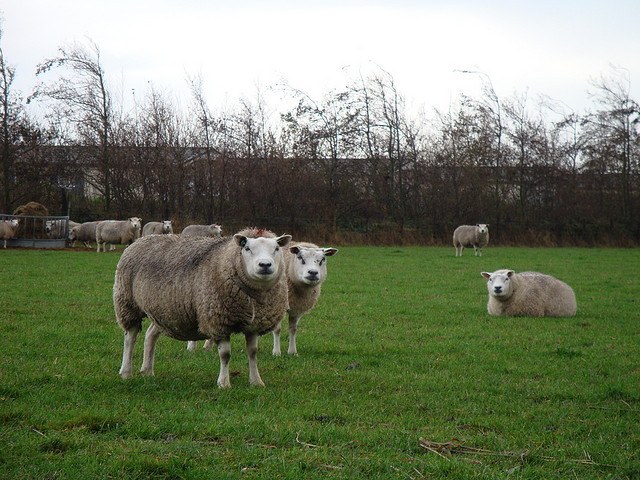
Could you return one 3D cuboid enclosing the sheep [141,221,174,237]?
[{"bbox_3d":[-7.500,-0.515,37.145,1.791,0.996,0.610,-8,-8,44],"label":"sheep"}]

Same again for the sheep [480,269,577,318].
[{"bbox_3d":[6.044,1.878,23.310,3.038,2.006,1.800,0,-2,-32],"label":"sheep"}]

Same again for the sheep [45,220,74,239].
[{"bbox_3d":[-13.994,-0.550,42.051,1.594,0.938,0.960,1,4,35],"label":"sheep"}]

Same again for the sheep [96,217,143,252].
[{"bbox_3d":[-10.055,-0.189,40.320,2.735,1.883,0.995,3,6,24],"label":"sheep"}]

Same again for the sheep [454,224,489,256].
[{"bbox_3d":[8.342,0.027,43.762,1.008,1.809,2.990,-2,1,-21],"label":"sheep"}]
